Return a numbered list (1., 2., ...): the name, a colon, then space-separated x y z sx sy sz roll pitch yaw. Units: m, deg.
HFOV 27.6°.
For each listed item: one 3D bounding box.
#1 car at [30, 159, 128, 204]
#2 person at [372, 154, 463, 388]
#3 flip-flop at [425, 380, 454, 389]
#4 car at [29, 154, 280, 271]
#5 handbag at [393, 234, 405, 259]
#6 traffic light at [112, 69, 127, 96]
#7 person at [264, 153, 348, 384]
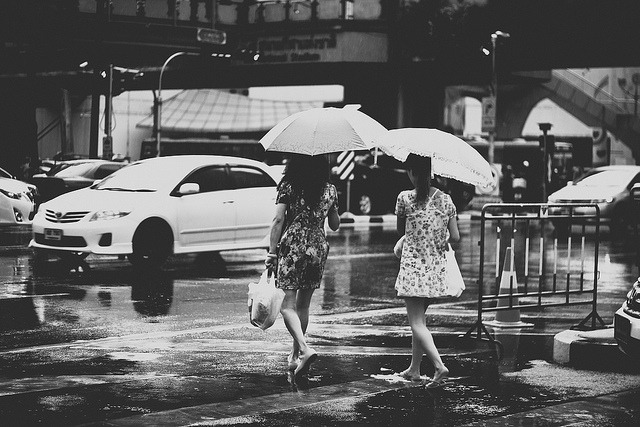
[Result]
1. car: -5.664 -0.755 29.876 2.177 0.762 0.973 -4 2 -42
2. person: 1.689 0.880 20.802 1.111 3.594 1.118 2 9 5
3. flip-flop: 1.931 2.692 20.630 0.509 0.131 0.175 -5 12 -33
4. car: -3.207 0.113 27.490 2.437 1.945 5.470 1 -1 40
5. handbag: 1.301 0.539 20.906 0.103 0.327 0.237 8 19 4
6. traffic light: -4.959 -3.284 32.544 0.243 0.627 0.609 5 10 21
7. person: -0.288 0.821 20.937 1.135 3.488 0.950 0 9 -12
